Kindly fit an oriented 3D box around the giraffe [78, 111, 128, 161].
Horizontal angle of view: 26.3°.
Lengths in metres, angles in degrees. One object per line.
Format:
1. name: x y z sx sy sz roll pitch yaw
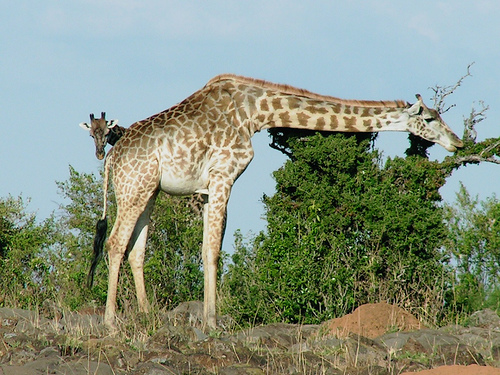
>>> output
1. giraffe: -3.351 -1.155 25.154 0.847 1.397 1.884 -6 3 8
